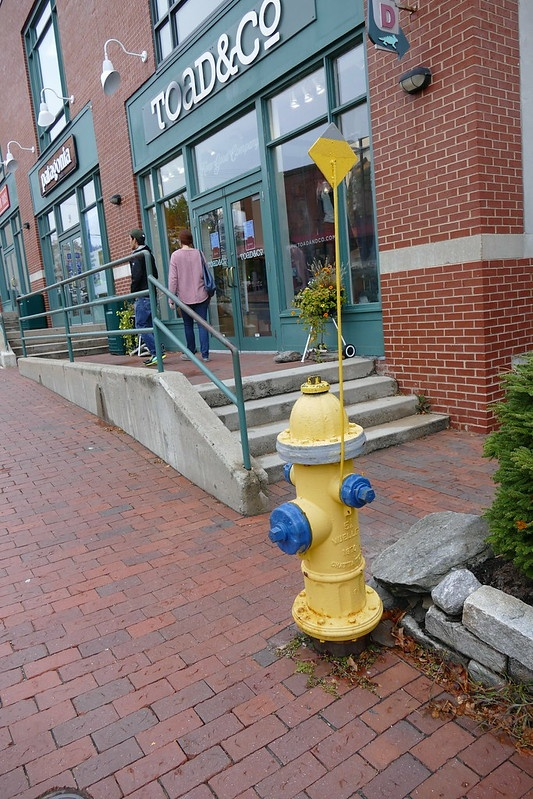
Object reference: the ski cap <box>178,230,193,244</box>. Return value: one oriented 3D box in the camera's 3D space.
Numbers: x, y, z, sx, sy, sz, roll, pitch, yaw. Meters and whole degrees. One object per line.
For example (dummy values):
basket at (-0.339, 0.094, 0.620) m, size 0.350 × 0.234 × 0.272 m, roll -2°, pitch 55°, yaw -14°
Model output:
ski cap at (-1.064, -2.119, 7.202) m, size 0.161 × 0.231 × 0.361 m, roll -7°, pitch 9°, yaw -9°

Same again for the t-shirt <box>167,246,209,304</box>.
t-shirt at (-0.990, -1.583, 7.154) m, size 0.544 × 0.768 × 0.281 m, roll -6°, pitch -8°, yaw -5°

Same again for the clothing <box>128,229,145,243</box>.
clothing at (-1.891, -2.406, 8.001) m, size 0.183 × 0.235 × 0.248 m, roll -2°, pitch 51°, yaw -13°

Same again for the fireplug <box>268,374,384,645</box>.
fireplug at (0.232, 0.478, 2.225) m, size 0.408 × 1.135 × 0.375 m, roll -4°, pitch 10°, yaw 10°

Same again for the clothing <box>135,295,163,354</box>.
clothing at (-1.835, -1.135, 8.430) m, size 0.301 × 0.931 × 0.356 m, roll -2°, pitch 17°, yaw 7°
